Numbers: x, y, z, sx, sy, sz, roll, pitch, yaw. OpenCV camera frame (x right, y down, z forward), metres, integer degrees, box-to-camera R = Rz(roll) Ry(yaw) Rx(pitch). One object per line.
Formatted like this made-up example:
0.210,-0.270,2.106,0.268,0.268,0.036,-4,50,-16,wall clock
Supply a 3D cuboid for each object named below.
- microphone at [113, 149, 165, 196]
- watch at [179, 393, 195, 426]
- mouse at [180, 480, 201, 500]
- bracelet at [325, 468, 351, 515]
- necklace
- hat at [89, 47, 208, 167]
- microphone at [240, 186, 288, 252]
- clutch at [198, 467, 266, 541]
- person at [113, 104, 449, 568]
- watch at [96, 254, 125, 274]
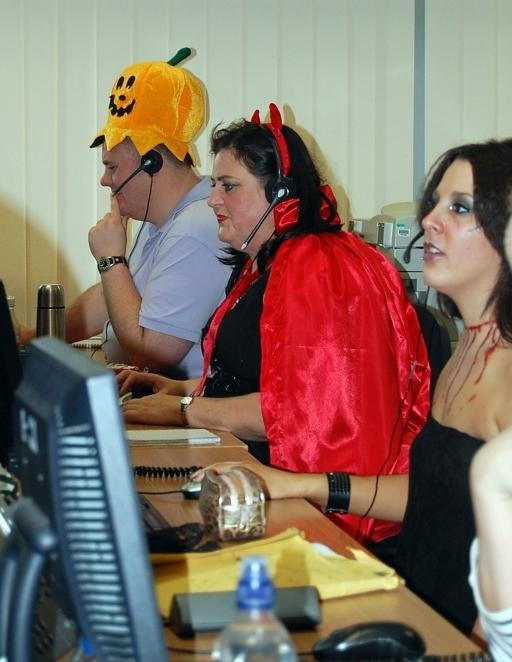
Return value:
-0.360,-0.546,2.097,0.104,0.085,0.180,-5,-1,-6,microphone
-0.155,0.176,1.392,0.038,0.053,0.060,8,6,2,watch
-0.087,0.215,0.859,0.022,0.008,0.028,2,12,3,mouse
0.130,0.259,1.024,0.040,0.057,0.064,3,-1,-1,bracelet
0.312,0.046,0.941,0.031,0.121,0.073,28,-2,-14,necklace
-0.350,-0.788,2.150,0.391,0.362,0.392,13,14,4,hat
0.021,-0.281,1.601,0.043,0.182,0.061,36,14,-39,microphone
-0.032,0.207,0.754,0.070,0.077,0.099,1,-5,-29,clutch
0.045,0.091,1.648,0.827,1.241,0.793,-4,6,-11,person
-0.458,-0.213,1.959,0.083,0.045,0.079,-14,-17,41,watch
